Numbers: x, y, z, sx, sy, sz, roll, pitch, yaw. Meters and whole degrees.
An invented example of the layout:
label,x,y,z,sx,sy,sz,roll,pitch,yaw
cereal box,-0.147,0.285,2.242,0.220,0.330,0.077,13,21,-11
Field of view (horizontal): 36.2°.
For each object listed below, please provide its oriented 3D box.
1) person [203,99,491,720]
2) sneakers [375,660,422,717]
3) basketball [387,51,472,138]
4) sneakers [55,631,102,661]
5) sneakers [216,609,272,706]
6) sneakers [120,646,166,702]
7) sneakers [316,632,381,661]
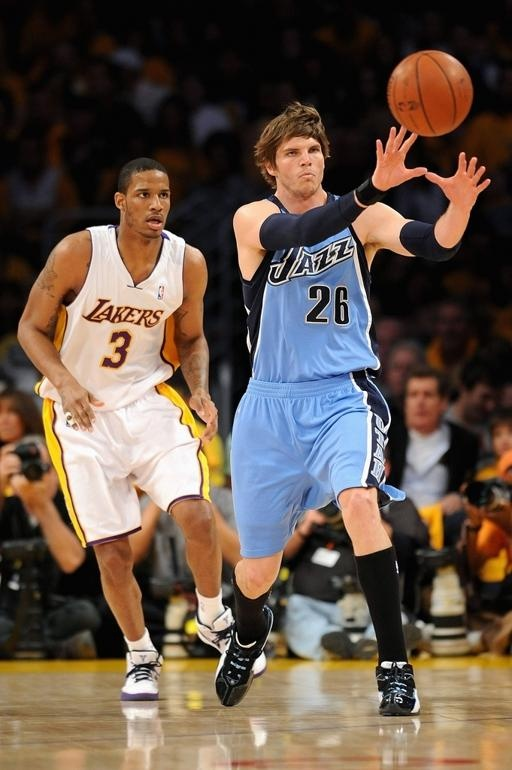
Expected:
label,x,y,z,sx,sy,sz,roll,pitch,yaw
person,0.247,0.061,2.387,0.896,1.954,0.710,4,13,43
sneakers,0.369,0.794,2.029,0.081,0.077,0.170,-2,-16,4
basketball,0.502,-0.854,2.292,0.232,0.238,0.141,-3,10,11
sneakers,-0.991,1.474,4.372,0.186,0.116,0.169,5,-11,-30
sneakers,-0.060,0.926,2.559,0.116,0.335,0.144,19,5,10
sneakers,-0.392,1.013,2.672,0.136,0.156,0.255,-5,9,-6
sneakers,0.479,1.417,4.231,0.374,0.111,0.150,6,0,6
